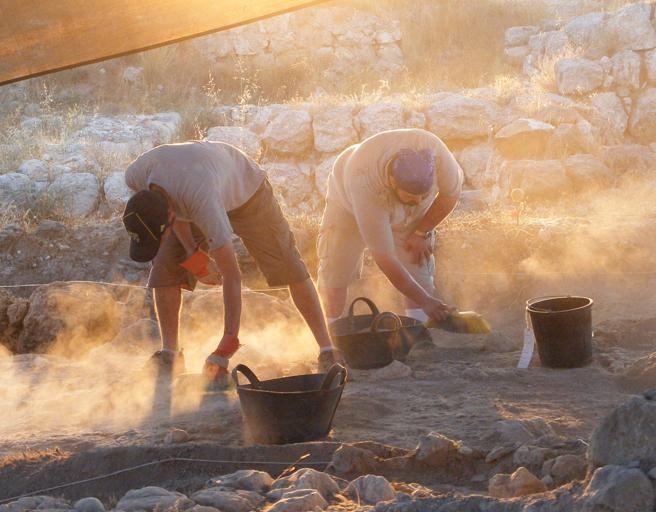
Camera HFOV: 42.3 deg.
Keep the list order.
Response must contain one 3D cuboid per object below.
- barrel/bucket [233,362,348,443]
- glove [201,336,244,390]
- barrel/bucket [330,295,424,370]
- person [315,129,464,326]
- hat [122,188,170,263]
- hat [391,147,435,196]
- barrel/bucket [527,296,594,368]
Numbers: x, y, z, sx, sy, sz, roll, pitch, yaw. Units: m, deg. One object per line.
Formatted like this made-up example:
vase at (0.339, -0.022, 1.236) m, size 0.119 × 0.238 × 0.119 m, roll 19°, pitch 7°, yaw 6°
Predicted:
barrel/bucket at (-0.217, 0.988, 5.481) m, size 0.559 × 0.386 × 0.577 m, roll -2°, pitch -1°, yaw 0°
glove at (-0.770, 0.785, 6.174) m, size 0.156 × 0.515 × 0.195 m, roll 29°, pitch 1°, yaw -3°
barrel/bucket at (0.350, 0.637, 6.904) m, size 0.787 × 0.490 × 0.595 m, roll -6°, pitch 13°, yaw -16°
person at (0.565, -0.153, 7.399) m, size 0.928 × 1.373 × 2.034 m, roll -19°, pitch -29°, yaw -4°
hat at (-1.289, -0.222, 6.205) m, size 0.318 × 0.534 × 0.285 m, roll 12°, pitch -6°, yaw 7°
hat at (0.632, -0.633, 6.355) m, size 0.328 × 0.332 × 0.184 m, roll -17°, pitch -6°, yaw -6°
barrel/bucket at (1.794, 0.583, 6.546) m, size 0.485 × 0.505 × 0.504 m, roll -8°, pitch 5°, yaw 1°
